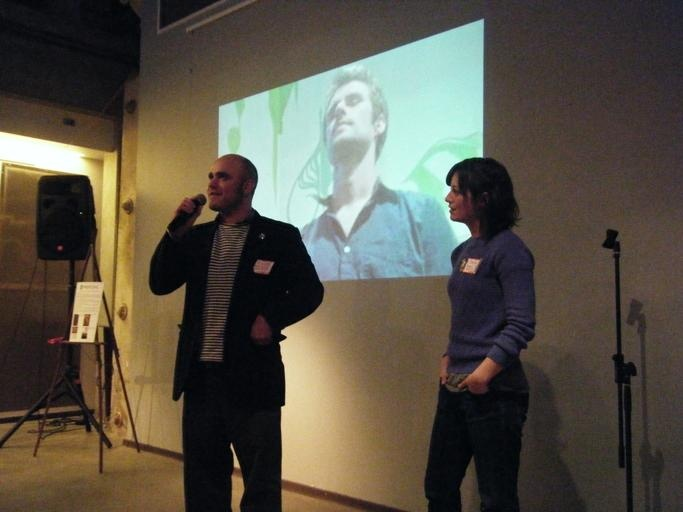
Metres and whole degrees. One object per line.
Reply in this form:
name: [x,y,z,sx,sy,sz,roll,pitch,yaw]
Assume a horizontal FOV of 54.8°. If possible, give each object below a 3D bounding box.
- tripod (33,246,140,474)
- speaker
tripod: [-2.277,0.781,5.795,0.813,1.767,2.094,-1,1,-26]
speaker: [-2.485,-0.293,5.931,0.464,0.854,0.442,-1,-15,-17]
